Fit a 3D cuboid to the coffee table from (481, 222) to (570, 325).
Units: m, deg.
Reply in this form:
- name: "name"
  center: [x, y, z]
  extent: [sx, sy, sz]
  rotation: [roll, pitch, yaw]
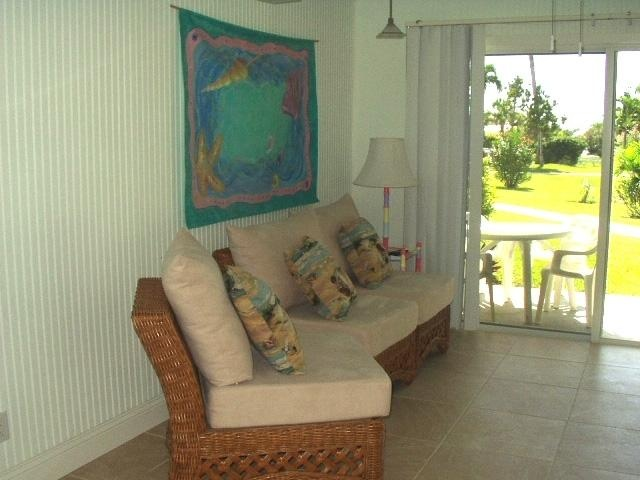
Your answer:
- name: "coffee table"
  center: [1.835, 0.259, 5.605]
  extent: [0.792, 0.994, 0.863]
  rotation: [-15, 20, -36]

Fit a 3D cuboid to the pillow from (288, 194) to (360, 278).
- name: "pillow"
  center: [-0.012, 0.024, 4.881]
  extent: [0.198, 0.538, 0.684]
  rotation: [-24, -10, 37]

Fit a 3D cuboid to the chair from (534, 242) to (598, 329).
- name: "chair"
  center: [2.311, 0.376, 5.437]
  extent: [0.488, 0.737, 0.536]
  rotation: [6, 4, 34]

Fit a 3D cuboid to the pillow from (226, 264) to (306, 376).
- name: "pillow"
  center: [-0.313, 0.472, 3.315]
  extent: [0.430, 0.611, 0.762]
  rotation: [-3, -2, -11]

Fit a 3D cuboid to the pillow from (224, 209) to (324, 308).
- name: "pillow"
  center: [-0.345, 0.138, 4.005]
  extent: [0.208, 0.577, 0.728]
  rotation: [-25, -12, 41]

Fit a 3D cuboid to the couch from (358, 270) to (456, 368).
- name: "couch"
  center: [0.710, 0.373, 4.721]
  extent: [0.523, 0.680, 0.968]
  rotation: [6, 10, 29]

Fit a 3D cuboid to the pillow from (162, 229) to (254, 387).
- name: "pillow"
  center: [-0.520, 0.416, 3.229]
  extent: [0.477, 0.874, 0.951]
  rotation: [-4, 19, -6]
